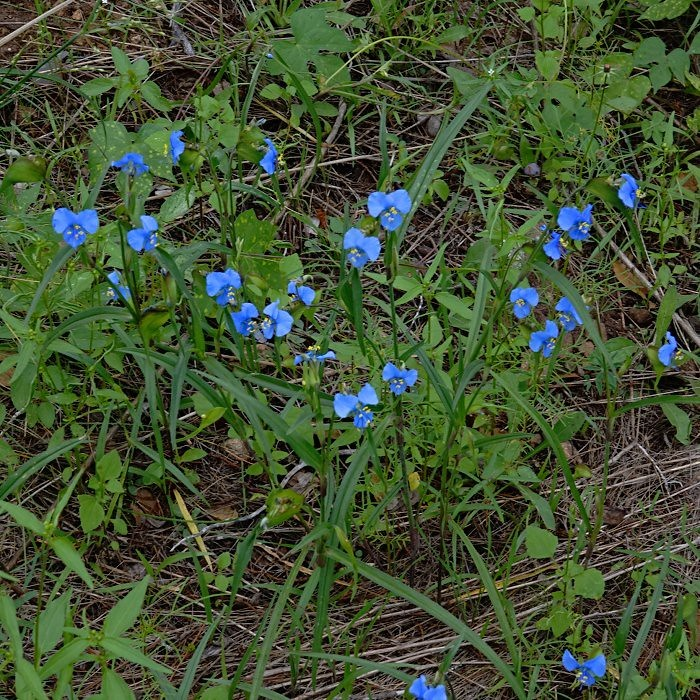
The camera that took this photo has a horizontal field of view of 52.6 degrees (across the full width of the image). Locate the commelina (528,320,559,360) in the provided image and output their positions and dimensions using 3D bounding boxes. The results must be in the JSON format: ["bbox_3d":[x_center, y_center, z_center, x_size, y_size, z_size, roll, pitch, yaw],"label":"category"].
[{"bbox_3d":[0.669,-0.031,2.331,0.119,0.062,0.111,22,94,32],"label":"commelina"}]
